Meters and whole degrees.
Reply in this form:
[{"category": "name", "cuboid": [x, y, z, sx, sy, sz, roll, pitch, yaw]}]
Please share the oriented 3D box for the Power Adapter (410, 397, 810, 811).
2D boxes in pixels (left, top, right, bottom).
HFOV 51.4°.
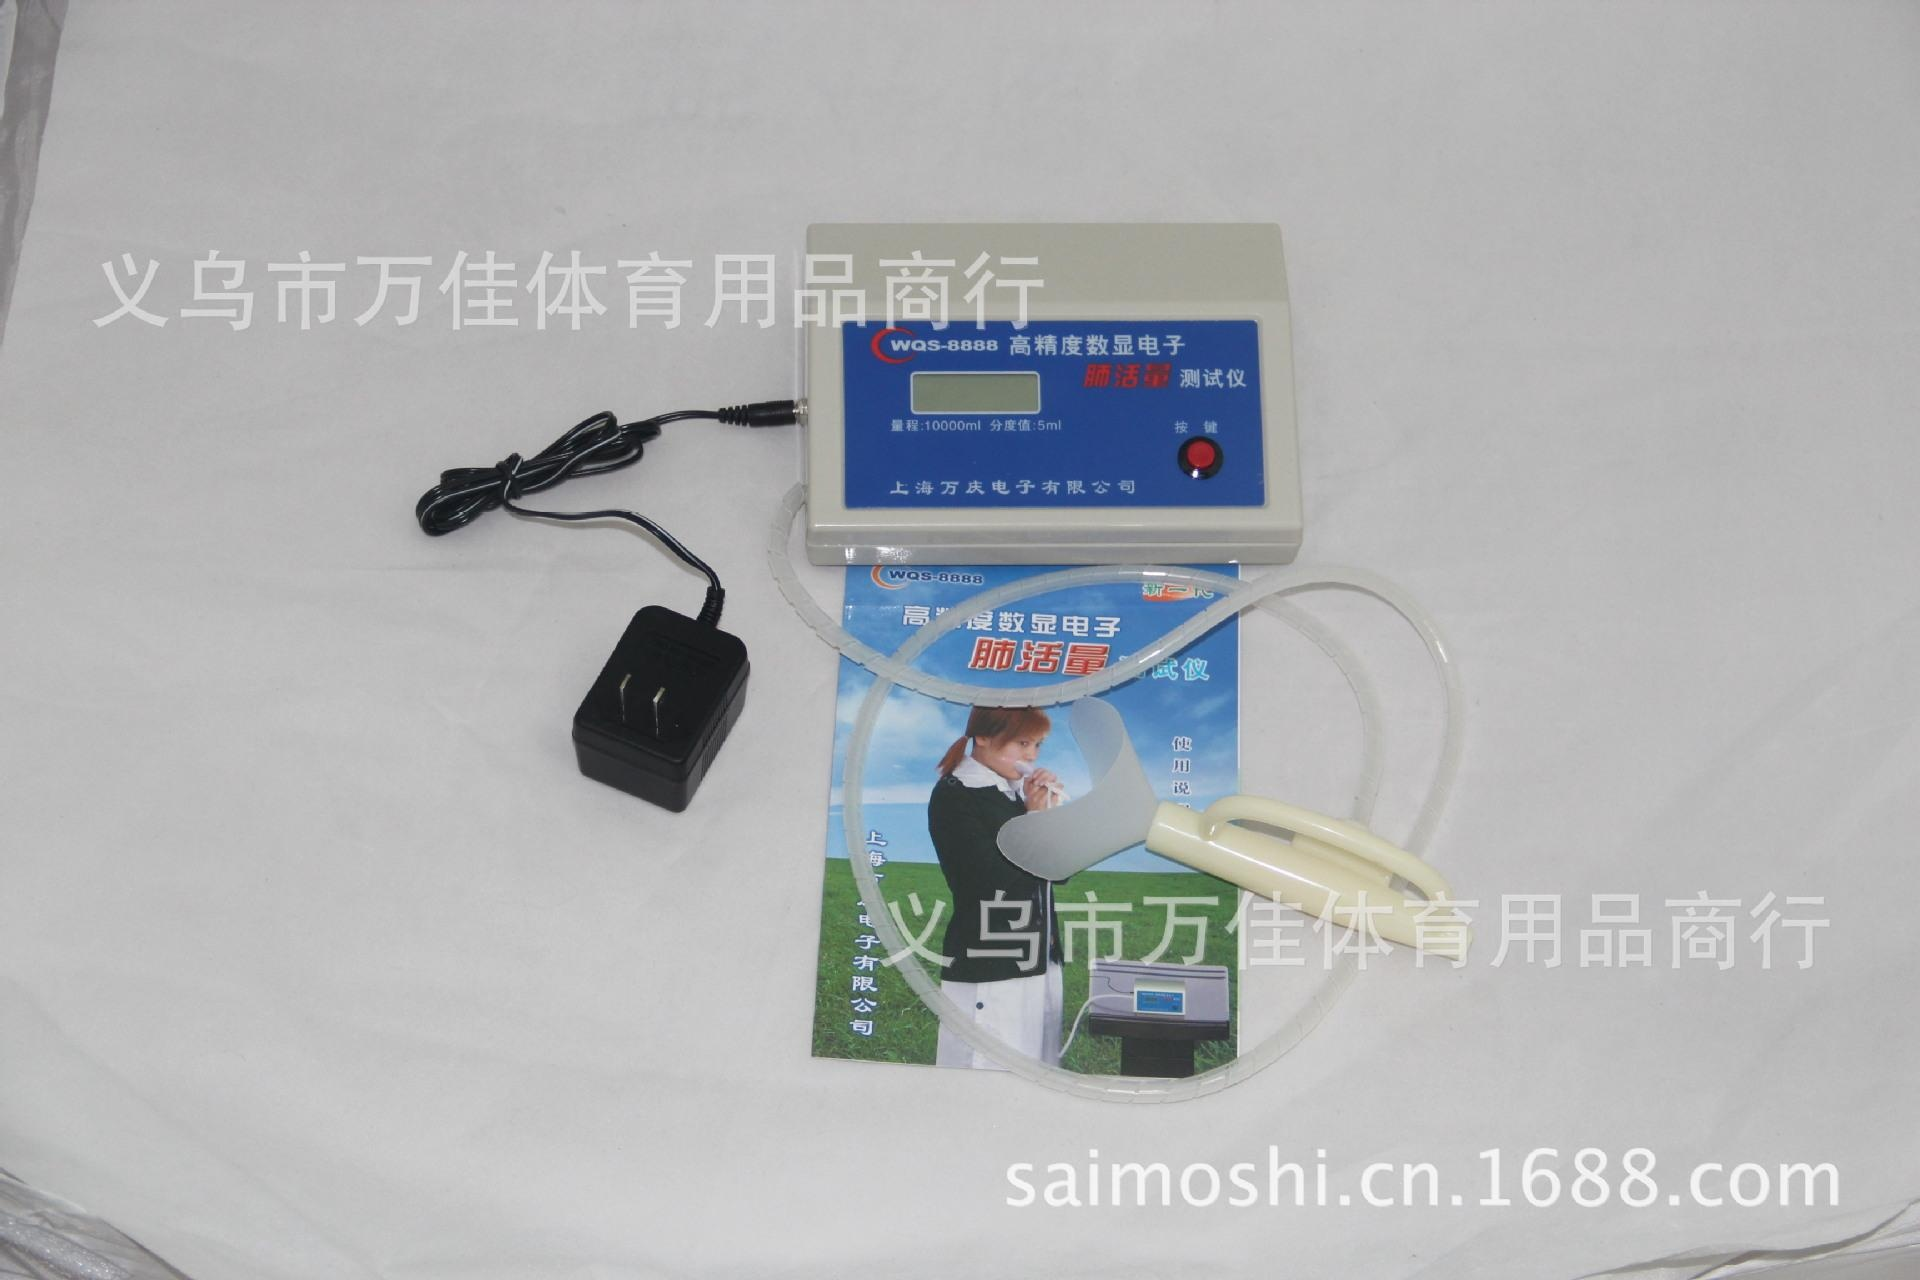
[{"category": "Power Adapter", "cuboid": [-0.402, -0.070, 2.133, 0.383, 0.146, 0.468, 9, 83, 2]}]
